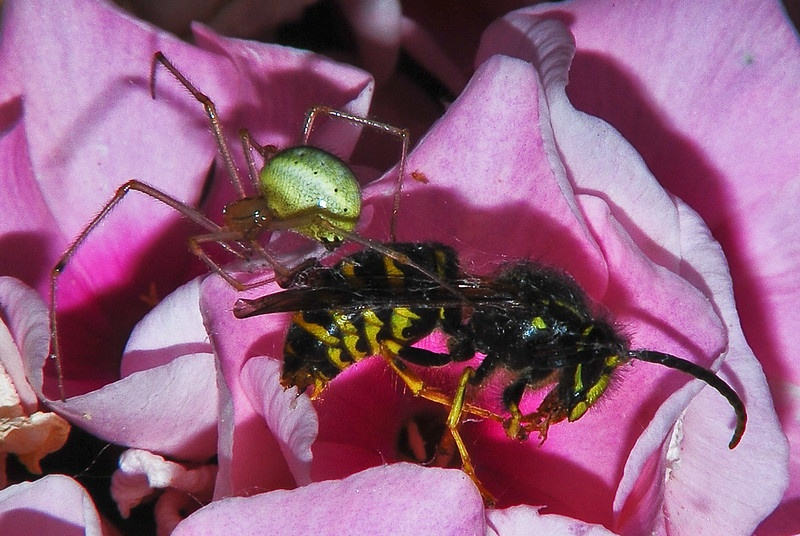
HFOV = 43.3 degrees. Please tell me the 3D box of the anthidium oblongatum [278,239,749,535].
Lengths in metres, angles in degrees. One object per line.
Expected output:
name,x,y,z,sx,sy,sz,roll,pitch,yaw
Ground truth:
anthidium oblongatum,0.119,0.063,1.093,0.380,0.283,0.146,25,98,5
